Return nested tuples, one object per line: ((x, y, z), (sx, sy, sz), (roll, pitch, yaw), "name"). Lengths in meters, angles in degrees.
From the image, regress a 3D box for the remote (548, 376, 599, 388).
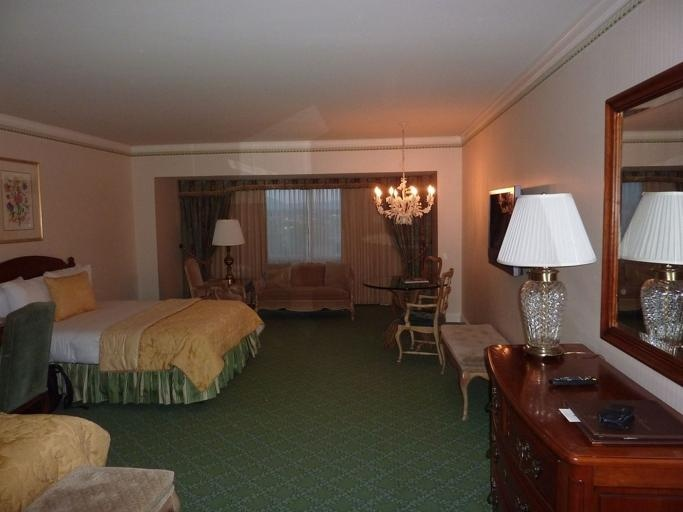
((1.486, 0.802, 3.160), (0.207, 0.053, 0.116), (-3, -1, 11), "remote")

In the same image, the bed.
((-2.377, 0.938, 5.698), (2.092, 1.283, 1.800), (0, 8, -4), "bed")

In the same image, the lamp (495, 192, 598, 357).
((1.378, 0.160, 3.372), (0.540, 1.158, 0.406), (-5, 13, -16), "lamp")

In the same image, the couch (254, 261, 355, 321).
((-0.659, 0.597, 9.070), (1.758, 0.788, 0.965), (-1, 13, 2), "couch")

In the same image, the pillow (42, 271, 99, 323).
((-3.178, 0.479, 5.742), (0.177, 0.379, 0.507), (-9, 0, 20), "pillow")

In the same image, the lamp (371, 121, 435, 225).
((1.072, -1.405, 8.162), (1.272, 2.220, 1.087), (-1, 3, 0), "lamp")
